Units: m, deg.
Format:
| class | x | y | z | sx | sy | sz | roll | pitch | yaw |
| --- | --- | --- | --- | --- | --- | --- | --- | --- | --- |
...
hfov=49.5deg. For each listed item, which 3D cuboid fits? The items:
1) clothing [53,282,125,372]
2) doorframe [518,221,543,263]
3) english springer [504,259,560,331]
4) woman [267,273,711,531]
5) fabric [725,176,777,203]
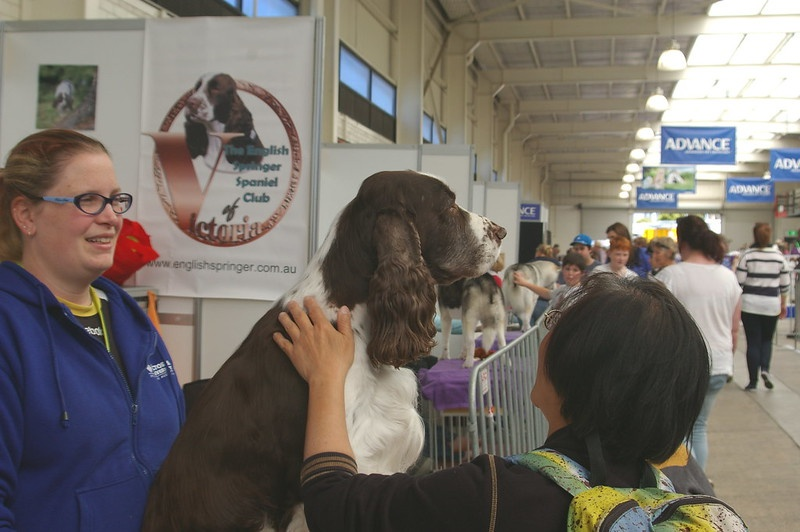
| class | x | y | z | sx | sy | sz | roll | pitch | yaw |
| --- | --- | --- | --- | --- | --- | --- | --- | --- | --- |
| clothing | -1.721 | 0.317 | 4.944 | 0.281 | 0.503 | 0.283 | -42 | -20 | 19 |
| doorframe | 3.338 | -0.640 | 22.124 | 0.566 | 1.004 | 0.825 | 5 | 6 | 23 |
| english springer | 1.650 | 0.291 | 11.149 | 0.472 | 0.968 | 1.619 | 6 | 14 | 22 |
| woman | 0.495 | 0.760 | 4.479 | 1.788 | 0.864 | 1.329 | -3 | -6 | 20 |
| fabric | 11.831 | -2.590 | 29.299 | 1.423 | 0.759 | 1.646 | 5 | 5 | 18 |
